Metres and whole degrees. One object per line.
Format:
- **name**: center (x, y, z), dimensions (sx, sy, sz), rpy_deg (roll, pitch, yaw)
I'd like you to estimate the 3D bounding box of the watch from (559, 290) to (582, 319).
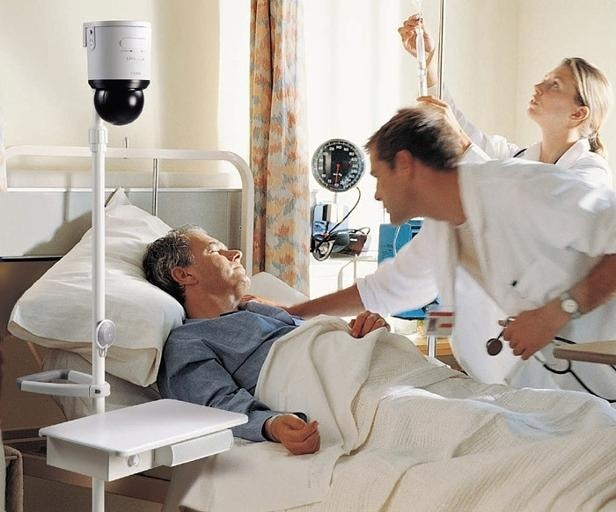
- **watch**: center (0.640, 0.116, 1.663), dimensions (0.044, 0.063, 0.017), rpy_deg (-11, 2, 44)
